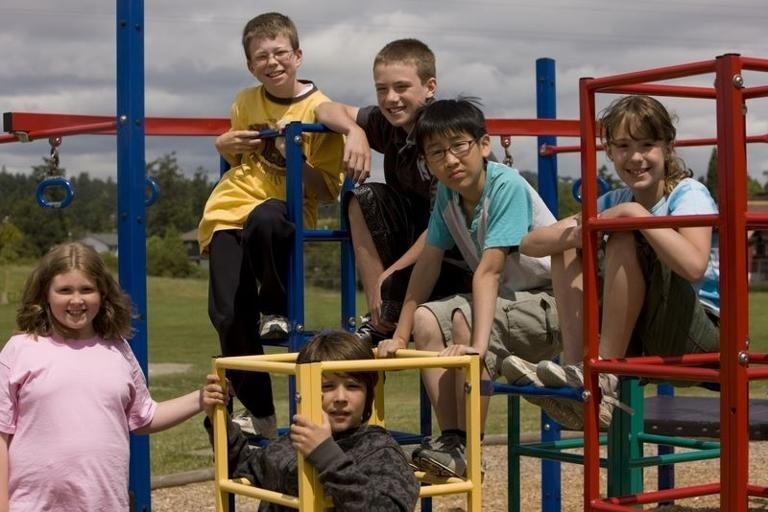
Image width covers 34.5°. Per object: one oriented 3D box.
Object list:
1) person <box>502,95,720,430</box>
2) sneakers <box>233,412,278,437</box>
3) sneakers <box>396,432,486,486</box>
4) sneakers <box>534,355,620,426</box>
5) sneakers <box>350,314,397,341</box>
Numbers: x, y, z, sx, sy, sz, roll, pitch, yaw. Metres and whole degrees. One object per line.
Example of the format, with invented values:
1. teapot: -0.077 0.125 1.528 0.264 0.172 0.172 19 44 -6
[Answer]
1. person: 1.350 0.065 7.043 1.287 2.030 0.965 14 -17 -25
2. sneakers: -0.800 1.048 7.676 0.209 0.090 0.176 10 -4 18
3. sneakers: 0.310 1.078 6.744 0.420 0.220 0.196 28 -38 -23
4. sneakers: 1.040 0.772 6.847 0.484 0.252 0.291 37 -36 -17
5. sneakers: -0.072 0.455 7.716 0.288 0.154 0.116 3 -2 10
